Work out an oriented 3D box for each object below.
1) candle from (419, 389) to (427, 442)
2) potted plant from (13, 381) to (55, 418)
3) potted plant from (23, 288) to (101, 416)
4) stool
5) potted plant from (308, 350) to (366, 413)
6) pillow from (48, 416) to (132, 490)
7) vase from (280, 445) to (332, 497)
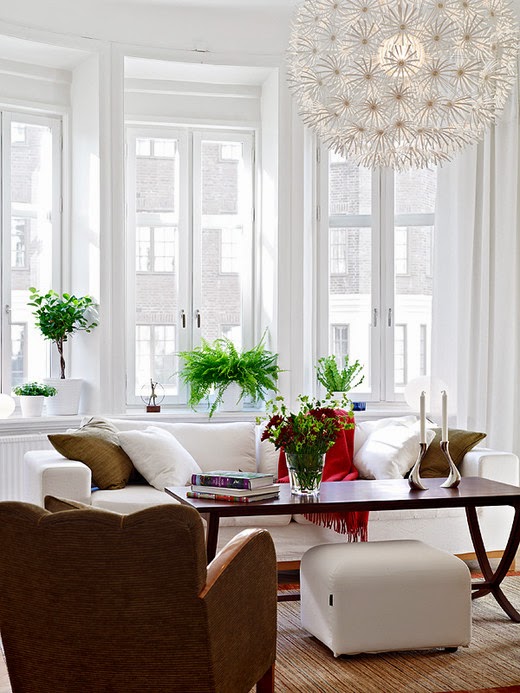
[{"bbox_3d":[0.683,0.291,2.791,0.016,0.216,0.051,0,2,23],"label":"candle"},{"bbox_3d":[-1.422,0.348,4.288,0.274,0.212,0.213,1,-7,-9],"label":"potted plant"},{"bbox_3d":[-1.309,0.024,4.410,0.408,0.813,0.489,-2,2,-25],"label":"potted plant"},{"bbox_3d":[0.464,0.866,2.329,0.465,0.278,0.429,2,-8,-17],"label":"stool"},{"bbox_3d":[0.537,0.211,4.337,0.400,0.444,0.355,1,-4,-5],"label":"potted plant"},{"bbox_3d":[-0.767,0.528,3.174,0.250,0.266,0.364,0,2,26],"label":"pillow"},{"bbox_3d":[0.178,0.487,2.556,0.167,0.160,0.161,1,-6,-2],"label":"vase"}]
